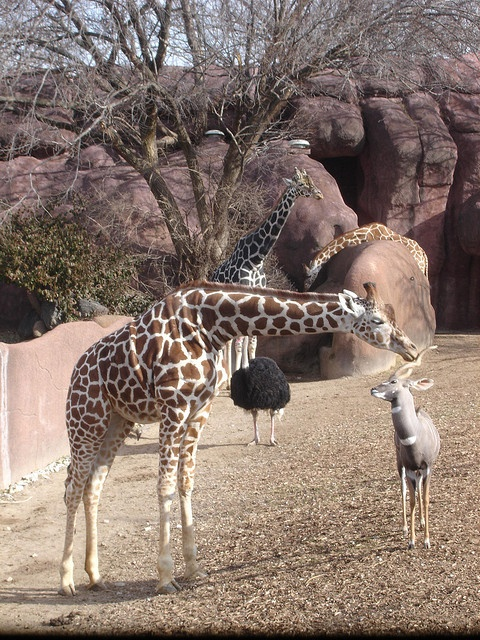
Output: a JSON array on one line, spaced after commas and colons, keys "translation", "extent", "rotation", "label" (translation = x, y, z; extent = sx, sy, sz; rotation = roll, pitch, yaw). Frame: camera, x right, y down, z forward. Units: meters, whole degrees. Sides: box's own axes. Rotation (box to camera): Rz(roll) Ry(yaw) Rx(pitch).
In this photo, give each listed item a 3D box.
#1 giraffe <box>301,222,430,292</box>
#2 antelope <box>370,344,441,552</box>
[{"translation": [2.467, -1.148, 15.787], "extent": [2.311, 1.278, 1.774], "rotation": [2, 2, 19], "label": "giraffe"}, {"translation": [1.248, 0.922, 6.155], "extent": [0.427, 1.408, 1.107], "rotation": [-2, -6, 19], "label": "antelope"}]
